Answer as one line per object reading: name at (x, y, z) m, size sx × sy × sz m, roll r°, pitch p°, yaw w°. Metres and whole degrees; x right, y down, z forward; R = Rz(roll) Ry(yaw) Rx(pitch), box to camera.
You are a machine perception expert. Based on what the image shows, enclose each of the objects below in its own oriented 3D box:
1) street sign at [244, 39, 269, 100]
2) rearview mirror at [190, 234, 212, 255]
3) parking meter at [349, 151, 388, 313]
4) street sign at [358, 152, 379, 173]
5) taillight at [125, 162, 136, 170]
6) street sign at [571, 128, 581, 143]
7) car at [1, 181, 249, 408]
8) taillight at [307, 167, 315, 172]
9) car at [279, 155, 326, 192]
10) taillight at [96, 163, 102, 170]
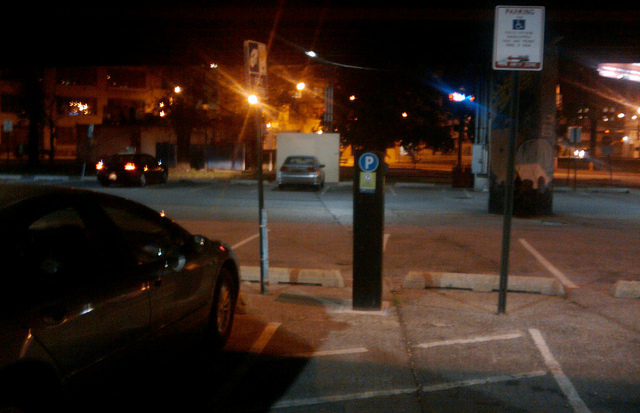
street sign at (-1.035, -2.224, 8.647) m, size 0.358 × 0.984 × 0.705 m, roll -1°, pitch 8°, yaw -7°
rearview mirror at (-1.416, 0.451, 6.374) m, size 0.211 × 0.159 × 0.234 m, roll 0°, pitch 5°, yaw -6°
parking meter at (0.732, 0.376, 7.912) m, size 0.480 × 2.376 × 0.298 m, roll 1°, pitch 8°, yaw 6°
street sign at (0.714, -0.633, 7.718) m, size 0.285 × 0.291 × 0.049 m, roll 2°, pitch 2°, yaw 6°
taillight at (-9.341, -1.998, 26.319) m, size 0.499 × 0.335 × 0.146 m, roll -3°, pitch 8°, yaw -22°
street sign at (13.265, -3.675, 27.655) m, size 0.726 × 0.673 × 0.176 m, roll 5°, pitch 8°, yaw -1°
car at (-2.074, 0.932, 5.477) m, size 1.064 × 2.298 × 2.724 m, roll 3°, pitch 8°, yaw 20°
taillight at (-0.427, -1.811, 25.816) m, size 0.333 × 0.207 × 0.134 m, roll 0°, pitch 8°, yaw -4°
car at (-0.870, -1.659, 26.741) m, size 2.208 × 1.656 × 2.152 m, roll 0°, pitch 8°, yaw -1°
taillight at (-10.797, -1.963, 26.200) m, size 0.207 × 0.252 × 0.393 m, roll -3°, pitch 8°, yaw -23°
